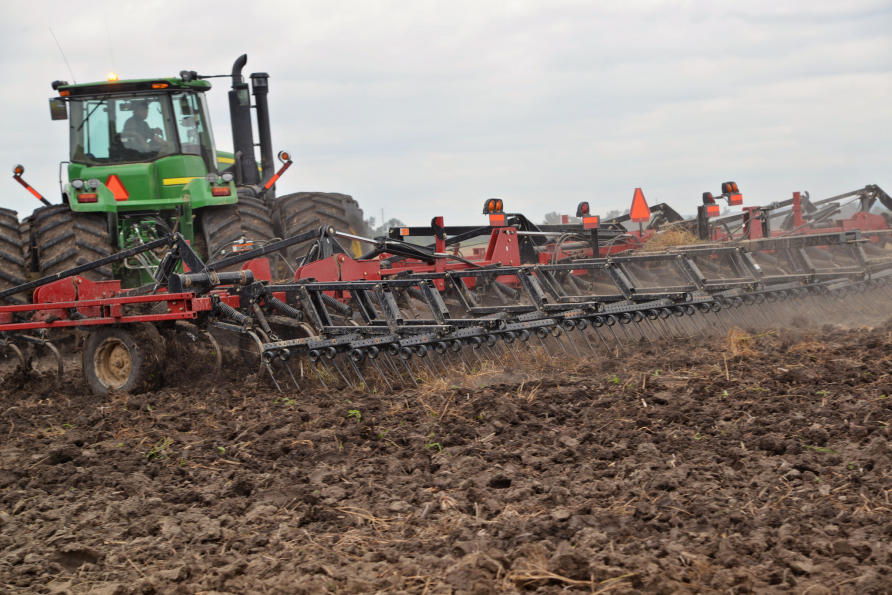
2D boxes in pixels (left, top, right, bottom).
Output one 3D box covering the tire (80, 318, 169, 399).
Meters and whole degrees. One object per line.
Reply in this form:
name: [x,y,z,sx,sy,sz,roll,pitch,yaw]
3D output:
tire: [-3.220,0.618,7.840,1.044,0.735,0.348,8,-3,27]
